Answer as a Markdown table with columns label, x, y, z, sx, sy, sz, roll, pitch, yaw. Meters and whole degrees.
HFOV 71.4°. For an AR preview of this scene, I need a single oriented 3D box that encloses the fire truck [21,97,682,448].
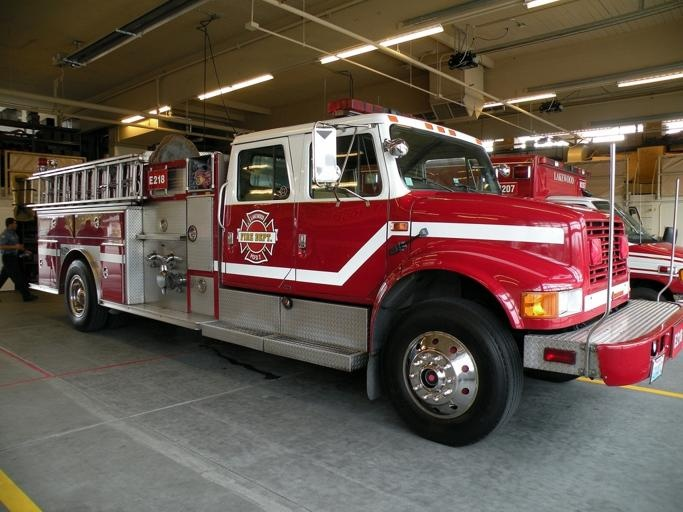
| label | x | y | z | sx | sy | sz | roll | pitch | yaw |
| --- | --- | --- | --- | --- | --- | --- | --- | --- | --- |
| fire truck | -0.463 | 0.049 | 6.618 | 7.900 | 2.577 | 3.338 | 1 | 2 | 39 |

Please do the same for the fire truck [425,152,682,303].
| label | x | y | z | sx | sy | sz | roll | pitch | yaw |
| --- | --- | --- | --- | --- | --- | --- | --- | --- | --- |
| fire truck | 3.464 | -0.679 | 9.659 | 5.386 | 2.872 | 2.557 | -2 | -1 | 30 |
